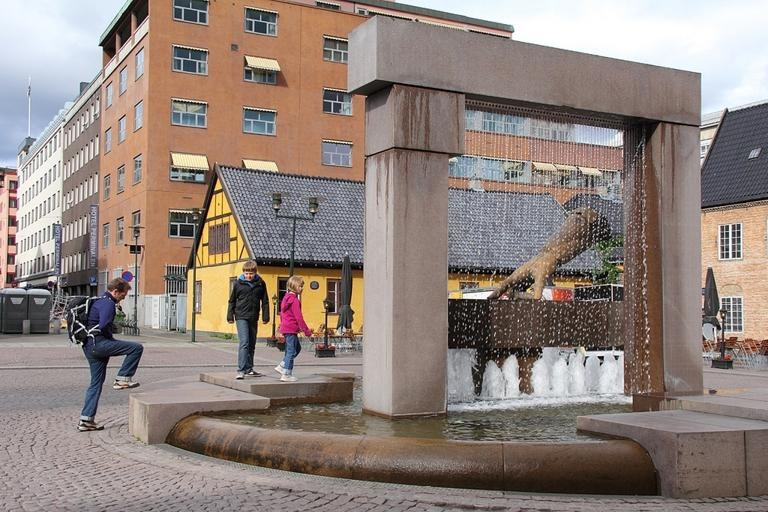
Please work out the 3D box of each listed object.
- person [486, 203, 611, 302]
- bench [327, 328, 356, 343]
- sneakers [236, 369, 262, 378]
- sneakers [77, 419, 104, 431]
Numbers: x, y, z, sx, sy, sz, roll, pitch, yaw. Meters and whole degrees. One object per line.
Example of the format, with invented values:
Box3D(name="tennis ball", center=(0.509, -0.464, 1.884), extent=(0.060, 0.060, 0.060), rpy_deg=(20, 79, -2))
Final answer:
Box3D(name="person", center=(4.389, -0.155, 22.865), extent=(1.339, 0.716, 2.520), rpy_deg=(27, -64, -30))
Box3D(name="bench", center=(-1.631, 3.196, 33.590), extent=(0.995, 0.274, 0.971), rpy_deg=(1, 0, 2))
Box3D(name="sneakers", center=(-2.584, 2.324, 16.498), extent=(0.504, 0.200, 0.177), rpy_deg=(-2, 1, -21))
Box3D(name="sneakers", center=(-4.894, 2.884, 14.378), extent=(0.415, 0.184, 0.196), rpy_deg=(-1, 5, -27))
